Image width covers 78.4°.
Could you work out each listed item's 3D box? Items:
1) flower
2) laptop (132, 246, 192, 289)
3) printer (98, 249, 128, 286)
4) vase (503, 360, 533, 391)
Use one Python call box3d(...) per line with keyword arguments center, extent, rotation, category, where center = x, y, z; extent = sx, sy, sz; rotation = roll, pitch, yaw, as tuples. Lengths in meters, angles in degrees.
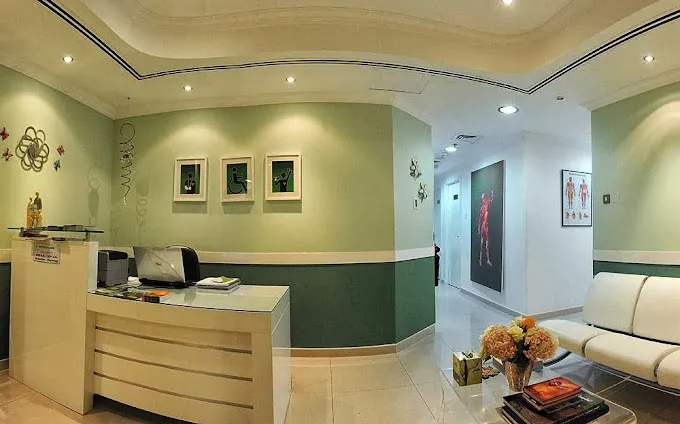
box3d(center=(1.989, 1.436, 4.749), extent=(0.601, 0.662, 0.648), rotation=(1, -5, -20), category="flower")
box3d(center=(-2.210, 0.657, 5.387), extent=(0.647, 0.475, 0.511), rotation=(3, 5, 0), category="laptop")
box3d(center=(-2.930, 0.706, 5.336), extent=(0.275, 0.371, 0.395), rotation=(2, -3, 9), category="printer")
box3d(center=(1.970, 1.808, 4.672), extent=(0.327, 0.347, 0.334), rotation=(2, -14, -2), category="vase")
